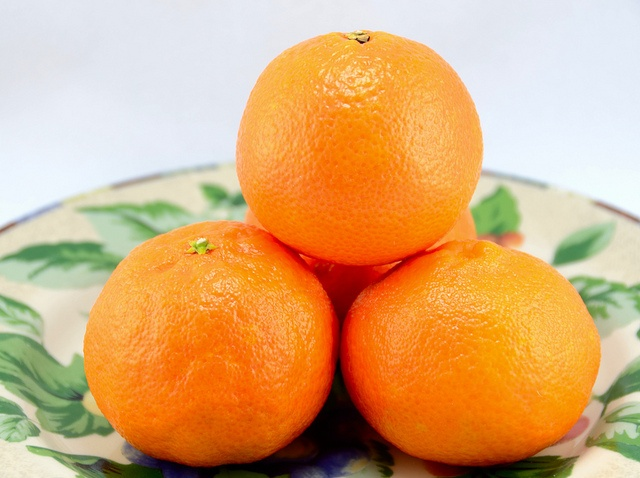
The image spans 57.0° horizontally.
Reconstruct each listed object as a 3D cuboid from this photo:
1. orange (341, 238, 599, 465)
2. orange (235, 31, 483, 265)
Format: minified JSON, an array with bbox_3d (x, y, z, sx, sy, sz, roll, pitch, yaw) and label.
[{"bbox_3d":[0.227,0.167,0.926,0.386,0.297,0.374,1,11,32],"label":"orange"},{"bbox_3d":[0.055,-0.136,0.925,0.359,0.323,0.361,-24,32,-39],"label":"orange"}]
